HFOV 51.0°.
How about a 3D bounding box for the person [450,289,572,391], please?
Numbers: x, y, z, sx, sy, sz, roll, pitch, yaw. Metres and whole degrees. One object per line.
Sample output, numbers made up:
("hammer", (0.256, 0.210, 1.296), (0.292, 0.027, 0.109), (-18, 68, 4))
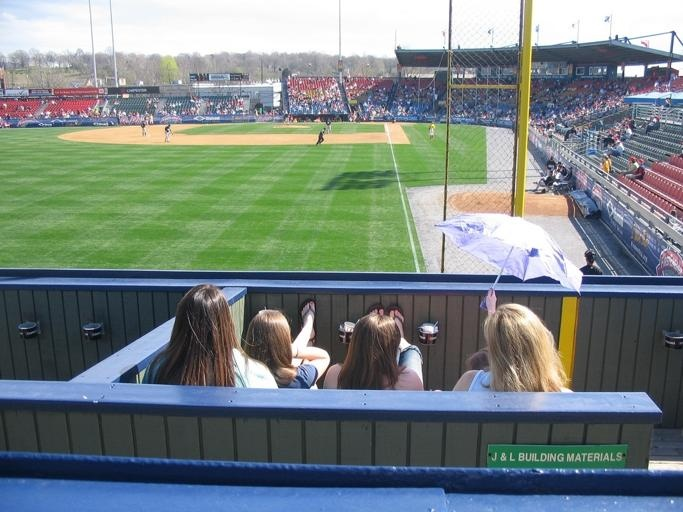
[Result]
("person", (1.034, 0.664, 4.444), (0.707, 0.673, 0.813), (3, 14, 15))

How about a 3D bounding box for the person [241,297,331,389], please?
("person", (-0.396, 0.637, 5.293), (0.438, 0.523, 0.917), (6, 18, 7))

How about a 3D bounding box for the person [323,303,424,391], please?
("person", (0.259, 0.562, 5.147), (0.405, 0.401, 0.905), (-1, 20, 4))

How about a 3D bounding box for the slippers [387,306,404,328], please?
("slippers", (0.460, 0.500, 6.059), (0.091, 0.277, 0.113), (-7, -7, 3))

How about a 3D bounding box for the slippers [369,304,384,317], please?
("slippers", (0.295, 0.446, 6.018), (0.095, 0.053, 0.127), (2, 9, 5))

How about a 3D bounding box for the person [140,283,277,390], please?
("person", (-0.889, 0.571, 4.640), (0.844, 0.747, 0.461), (-1, 13, -14))
